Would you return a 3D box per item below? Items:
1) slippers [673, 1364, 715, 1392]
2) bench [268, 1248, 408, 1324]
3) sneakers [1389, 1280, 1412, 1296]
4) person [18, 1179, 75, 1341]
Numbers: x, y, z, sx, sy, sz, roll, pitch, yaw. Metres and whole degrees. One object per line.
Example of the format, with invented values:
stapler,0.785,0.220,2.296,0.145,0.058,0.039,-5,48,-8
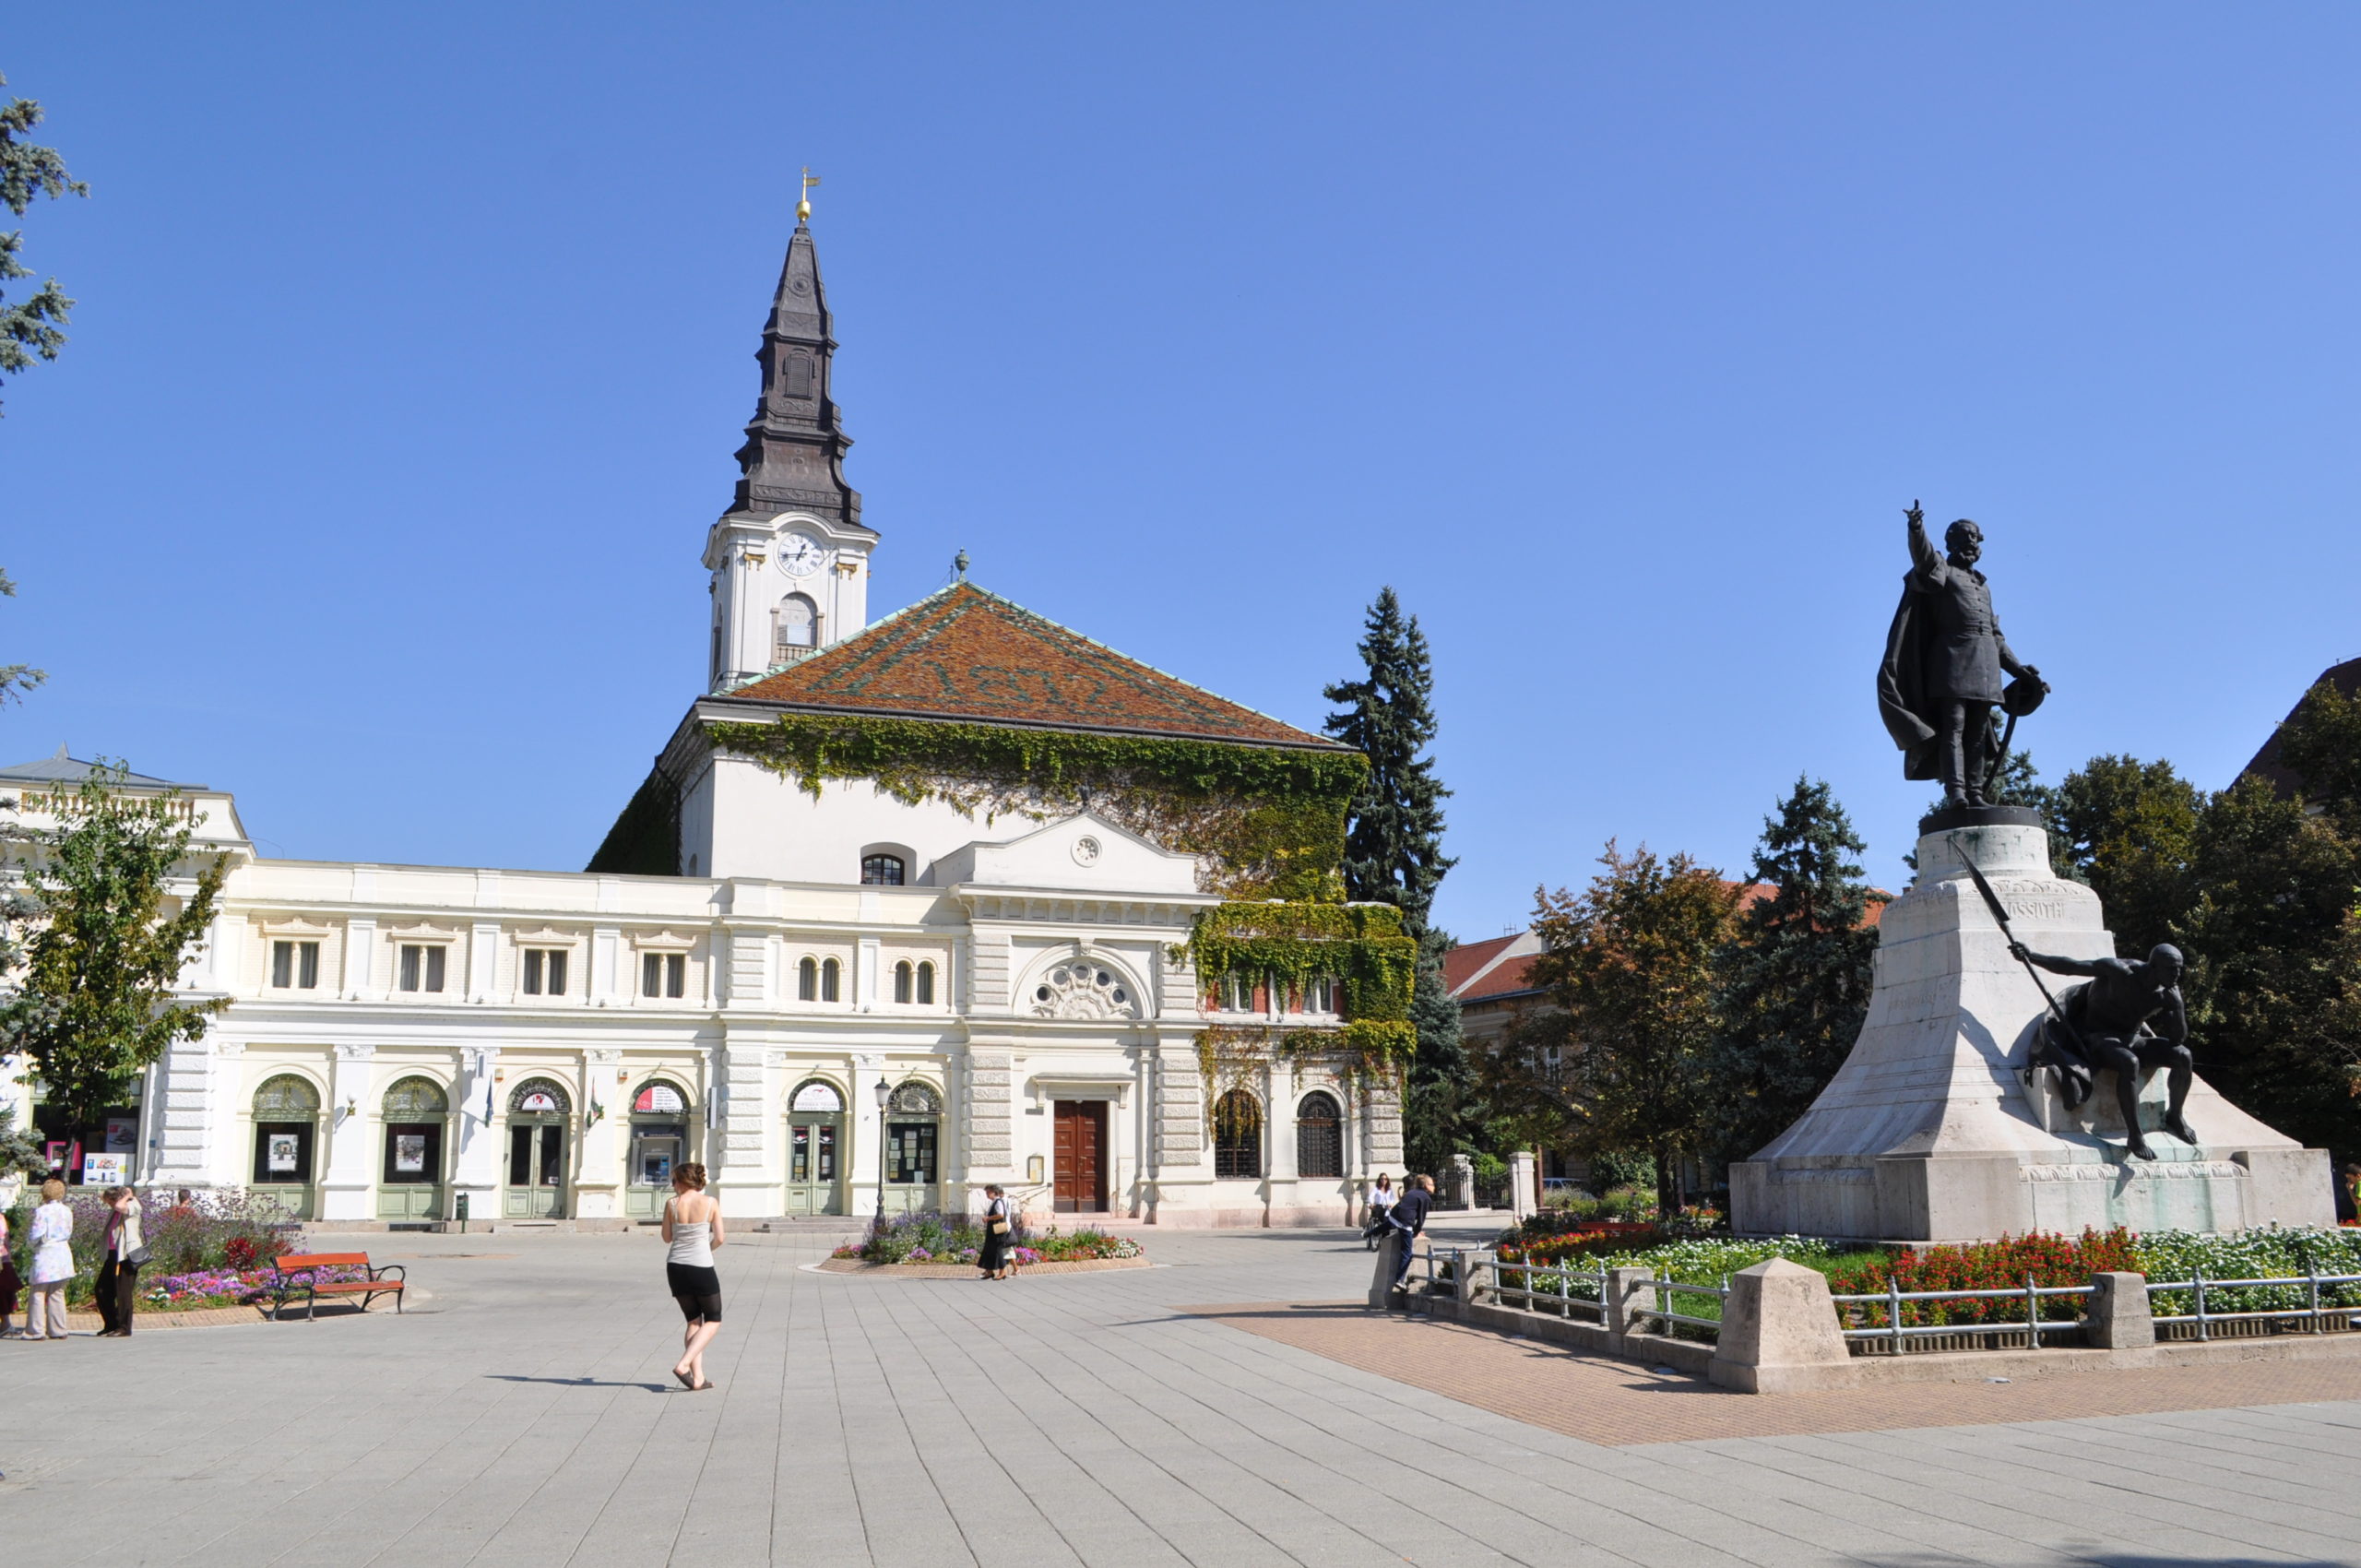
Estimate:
slippers,-5.546,6.722,23.570,0.229,0.289,0.750,12,-9,14
bench,-12.774,7.572,31.317,0.673,0.702,1.793,0,-15,38
sneakers,3.261,7.526,31.132,0.215,0.107,0.298,-1,-1,3
person,-15.491,6.443,28.435,0.645,2.133,1.556,6,-15,-27
